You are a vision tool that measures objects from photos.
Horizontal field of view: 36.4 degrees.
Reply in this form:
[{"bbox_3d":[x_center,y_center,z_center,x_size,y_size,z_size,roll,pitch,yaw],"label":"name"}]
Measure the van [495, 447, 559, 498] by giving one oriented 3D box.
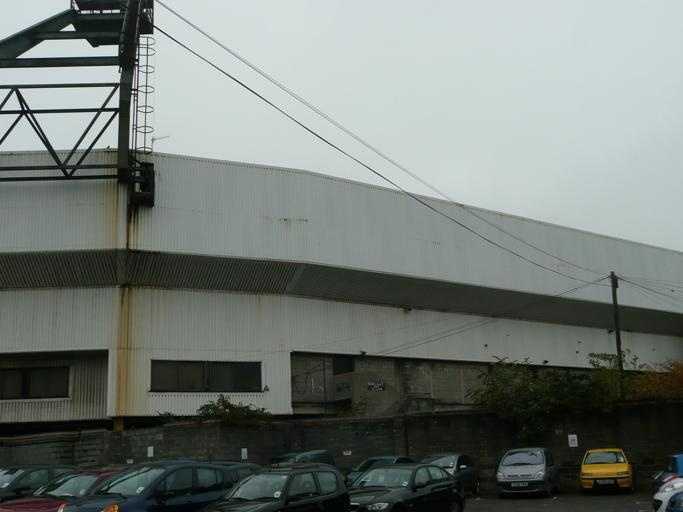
[{"bbox_3d":[8.229,9.575,45.756,2.856,2.223,1.714,0,-17,-12],"label":"van"}]
